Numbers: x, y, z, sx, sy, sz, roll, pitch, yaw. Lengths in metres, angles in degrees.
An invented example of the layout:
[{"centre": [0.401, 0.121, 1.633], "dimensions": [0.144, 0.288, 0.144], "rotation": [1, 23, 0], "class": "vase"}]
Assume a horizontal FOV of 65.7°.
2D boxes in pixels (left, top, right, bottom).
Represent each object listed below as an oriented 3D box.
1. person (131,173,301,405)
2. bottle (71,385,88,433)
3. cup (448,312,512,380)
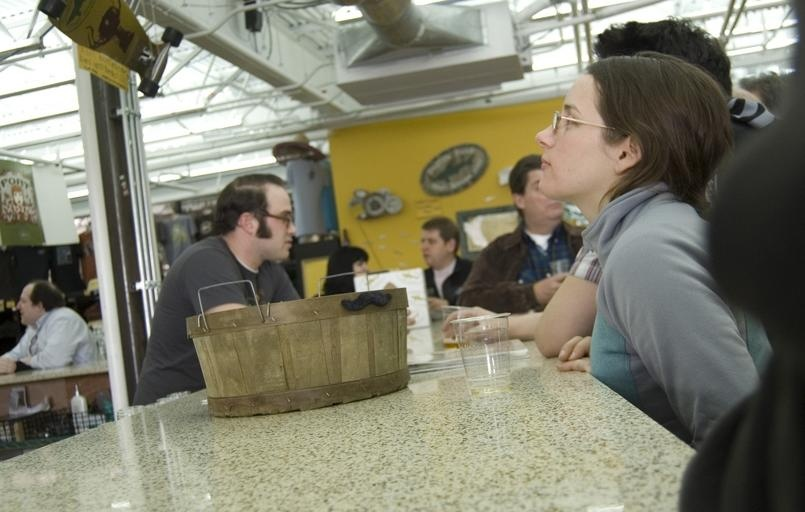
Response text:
[{"centre": [-0.782, 0.119, 2.629], "dimensions": [0.782, 0.782, 0.629], "rotation": [-9, 4, -25], "class": "person"}, {"centre": [-2.289, 1.080, 4.409], "dimensions": [0.110, 0.319, 0.189], "rotation": [-10, 5, -28], "class": "bottle"}, {"centre": [0.163, 0.213, 1.428], "dimensions": [0.146, 0.138, 0.139], "rotation": [-7, -15, -2], "class": "cup"}]
